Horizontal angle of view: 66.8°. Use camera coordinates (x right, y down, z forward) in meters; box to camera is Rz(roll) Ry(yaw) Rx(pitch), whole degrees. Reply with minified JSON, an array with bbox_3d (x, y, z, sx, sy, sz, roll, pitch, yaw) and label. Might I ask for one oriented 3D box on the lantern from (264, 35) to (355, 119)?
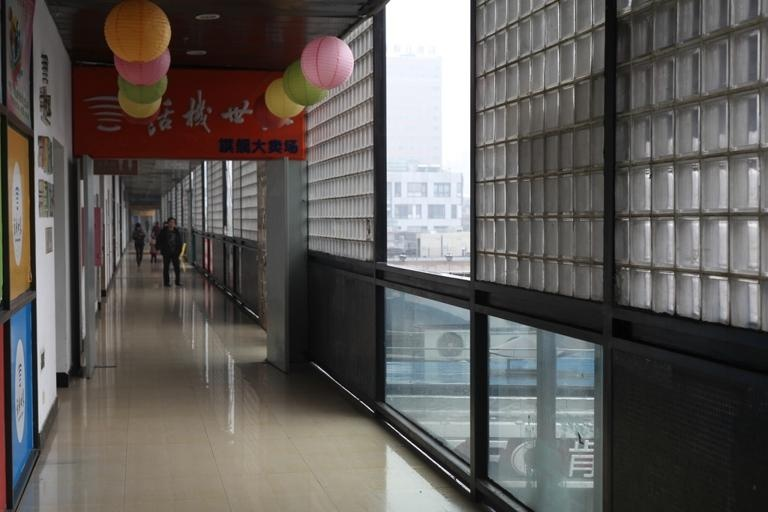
[{"bbox_3d":[-0.764,-1.541,5.368,0.433,0.467,1.441,11,-4,-19],"label":"lantern"}]
